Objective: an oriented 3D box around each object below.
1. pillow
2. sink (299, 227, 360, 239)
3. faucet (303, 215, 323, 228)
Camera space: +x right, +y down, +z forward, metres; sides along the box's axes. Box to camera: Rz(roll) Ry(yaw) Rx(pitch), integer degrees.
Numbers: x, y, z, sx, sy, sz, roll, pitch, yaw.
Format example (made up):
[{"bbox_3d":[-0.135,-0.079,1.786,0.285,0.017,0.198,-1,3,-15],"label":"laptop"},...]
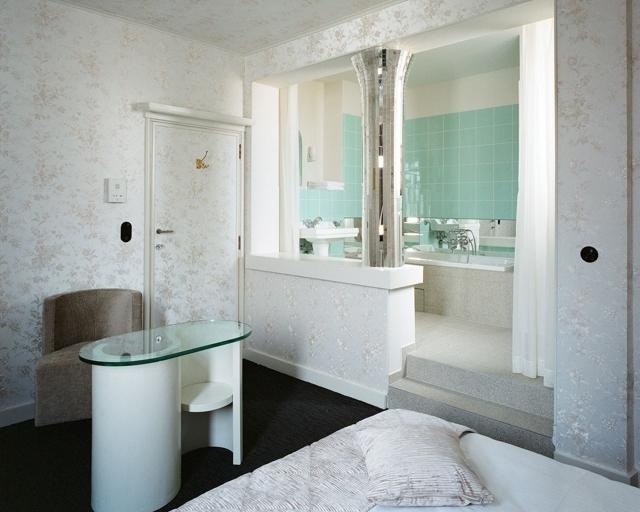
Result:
[{"bbox_3d":[0.457,0.934,2.228,0.582,0.234,0.409,4,6,5],"label":"pillow"},{"bbox_3d":[0.090,-0.272,5.850,0.286,0.128,0.971,7,7,32],"label":"sink"},{"bbox_3d":[-0.071,-0.442,6.187,0.164,0.133,0.360,6,7,28],"label":"faucet"}]
